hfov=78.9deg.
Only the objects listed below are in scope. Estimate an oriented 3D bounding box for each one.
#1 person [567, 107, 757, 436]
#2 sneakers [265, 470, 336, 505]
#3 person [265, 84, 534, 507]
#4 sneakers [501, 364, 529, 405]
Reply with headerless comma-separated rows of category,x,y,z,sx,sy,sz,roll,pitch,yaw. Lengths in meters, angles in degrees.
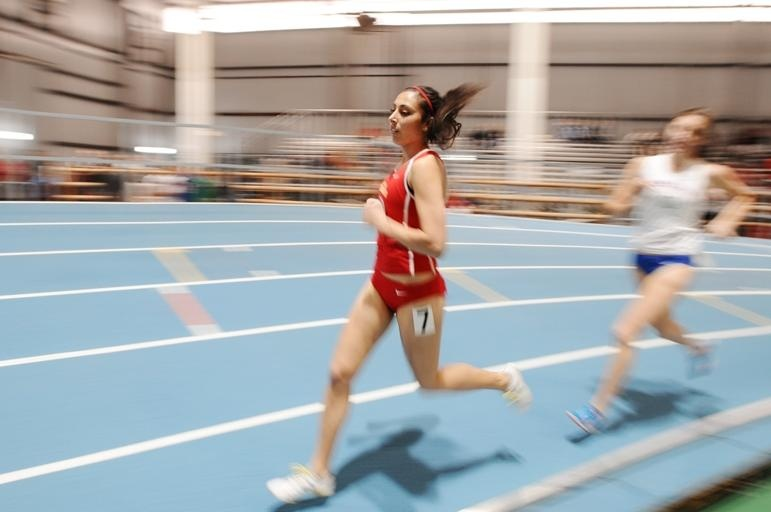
person,1.755,0.084,3.054,1.317,2.020,0.585,-7,14,-37
sneakers,-0.431,1.143,2.360,0.323,0.131,0.152,2,32,-19
person,0.070,0.187,2.422,1.393,2.088,0.483,-6,13,-31
sneakers,0.771,0.770,2.724,0.098,0.239,0.158,-42,-15,19
